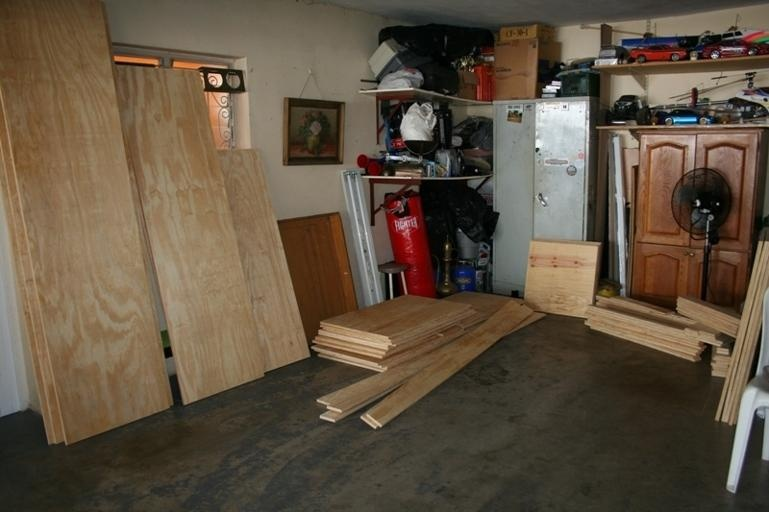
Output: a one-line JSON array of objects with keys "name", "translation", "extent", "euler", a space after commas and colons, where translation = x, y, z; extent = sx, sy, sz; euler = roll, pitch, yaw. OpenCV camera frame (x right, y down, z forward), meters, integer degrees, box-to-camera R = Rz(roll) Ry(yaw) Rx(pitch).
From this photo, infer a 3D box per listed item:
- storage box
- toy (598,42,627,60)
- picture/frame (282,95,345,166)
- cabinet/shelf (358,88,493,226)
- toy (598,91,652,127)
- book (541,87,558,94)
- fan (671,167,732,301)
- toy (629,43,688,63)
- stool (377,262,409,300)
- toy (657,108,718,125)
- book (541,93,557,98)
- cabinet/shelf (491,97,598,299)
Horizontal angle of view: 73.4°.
[{"name": "storage box", "translation": [1.967, -2.656, 7.127], "extent": [0.865, 1.001, 0.499], "euler": [0, 15, 13]}, {"name": "toy", "translation": [2.844, -2.459, 6.349], "extent": [0.251, 0.111, 0.254], "euler": [3, 6, 38]}, {"name": "picture/frame", "translation": [-0.824, -1.465, 6.120], "extent": [0.084, 0.727, 0.916], "euler": [16, 20, 35]}, {"name": "cabinet/shelf", "translation": [0.499, -1.281, 6.810], "extent": [0.735, 1.552, 1.938], "euler": [3, 9, 26]}, {"name": "toy", "translation": [3.029, -1.802, 6.382], "extent": [0.390, 0.283, 0.625], "euler": [5, 13, 29]}, {"name": "book", "translation": [2.246, -2.224, 6.948], "extent": [0.139, 0.042, 0.132], "euler": [-1, 12, 2]}, {"name": "fan", "translation": [3.558, -0.234, 5.848], "extent": [0.569, 1.515, 0.486], "euler": [5, 16, 27]}, {"name": "toy", "translation": [3.227, -2.340, 6.054], "extent": [0.494, 0.135, 0.244], "euler": [4, 17, 20]}, {"name": "stool", "translation": [0.133, 0.338, 6.786], "extent": [0.363, 0.536, 0.717], "euler": [-2, 13, 2]}, {"name": "toy", "translation": [3.519, -1.602, 6.026], "extent": [0.484, 0.120, 0.278], "euler": [4, 9, 24]}, {"name": "book", "translation": [2.222, -2.139, 6.933], "extent": [0.203, 0.064, 0.154], "euler": [5, 15, 27]}, {"name": "cabinet/shelf", "translation": [2.132, -0.784, 7.114], "extent": [1.291, 2.652, 0.514], "euler": [2, 15, 20]}]
